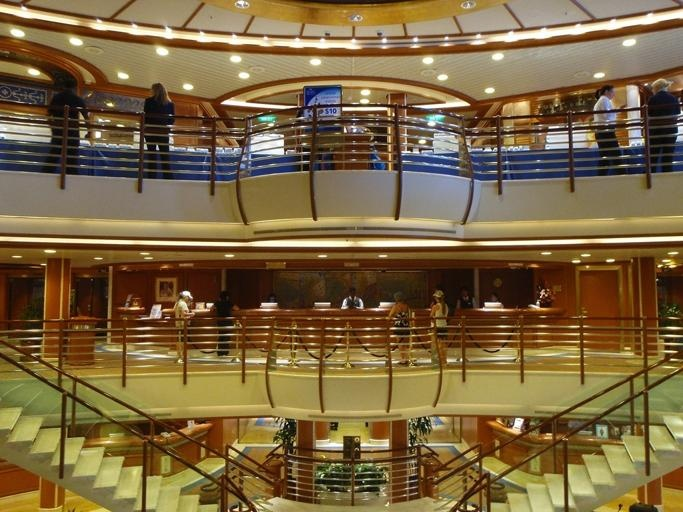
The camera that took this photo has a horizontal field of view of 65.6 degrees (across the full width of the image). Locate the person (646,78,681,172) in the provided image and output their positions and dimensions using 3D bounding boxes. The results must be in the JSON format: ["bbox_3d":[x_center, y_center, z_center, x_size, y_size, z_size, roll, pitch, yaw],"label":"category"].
[{"bbox_3d":[6.542,-2.683,10.735,0.589,2.013,1.369,-2,-2,29],"label":"person"}]

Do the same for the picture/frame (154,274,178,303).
[{"bbox_3d":[-5.069,0.913,15.395,1.088,0.918,0.079,0,3,8],"label":"picture/frame"}]

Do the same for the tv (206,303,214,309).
[{"bbox_3d":[-3.597,1.354,14.535,0.208,0.150,0.186,4,-6,-21],"label":"tv"}]

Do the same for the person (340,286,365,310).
[{"bbox_3d":[0.272,1.141,13.988,0.702,0.811,0.534,0,-21,-1],"label":"person"}]

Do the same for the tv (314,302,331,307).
[{"bbox_3d":[-0.513,1.297,14.077,0.380,0.131,0.314,-1,-1,-10],"label":"tv"}]

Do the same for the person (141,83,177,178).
[{"bbox_3d":[-3.753,-2.605,10.886,0.587,2.060,0.985,-1,-2,-19],"label":"person"}]

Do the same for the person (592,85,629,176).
[{"bbox_3d":[5.487,-2.637,10.911,0.546,2.043,1.229,-2,-2,25],"label":"person"}]
